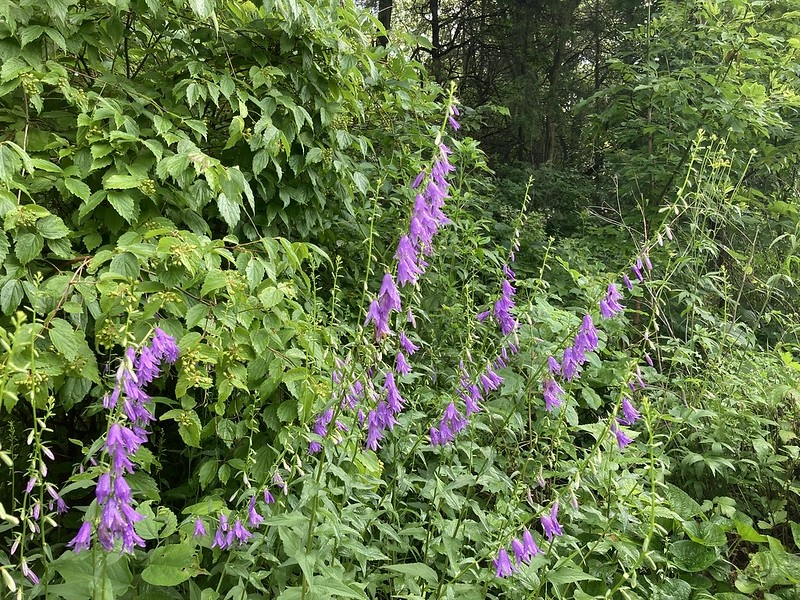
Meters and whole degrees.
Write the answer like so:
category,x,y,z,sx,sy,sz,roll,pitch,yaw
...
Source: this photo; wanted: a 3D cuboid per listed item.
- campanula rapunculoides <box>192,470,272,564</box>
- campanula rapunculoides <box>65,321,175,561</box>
category,x,y,z,sx,sy,sz,roll,pitch,yaw
campanula rapunculoides,-0.966,1.322,4.593,0.392,0.358,0.180,-7,-17,16
campanula rapunculoides,-1.541,0.873,4.351,0.386,1.422,0.616,9,15,-11
